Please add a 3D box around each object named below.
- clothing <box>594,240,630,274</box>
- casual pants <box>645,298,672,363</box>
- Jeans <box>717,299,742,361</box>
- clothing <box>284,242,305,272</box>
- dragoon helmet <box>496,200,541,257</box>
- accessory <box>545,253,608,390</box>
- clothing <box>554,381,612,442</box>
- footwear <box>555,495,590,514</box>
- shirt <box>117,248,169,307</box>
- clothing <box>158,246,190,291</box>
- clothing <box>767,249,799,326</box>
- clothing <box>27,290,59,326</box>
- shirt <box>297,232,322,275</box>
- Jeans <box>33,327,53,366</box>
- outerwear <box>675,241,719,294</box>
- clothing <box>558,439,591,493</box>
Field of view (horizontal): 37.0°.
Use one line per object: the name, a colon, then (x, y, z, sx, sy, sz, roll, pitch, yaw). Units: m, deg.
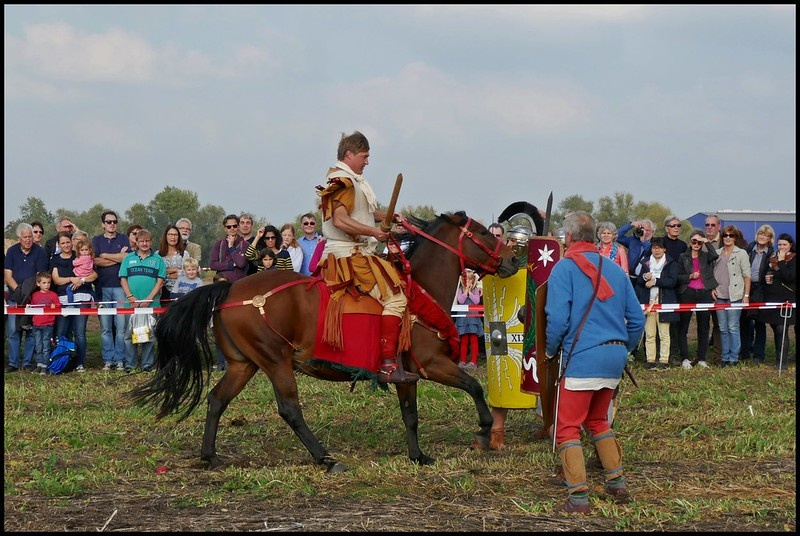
clothing: (2.972, -0.142, 16.736, 0.515, 0.499, 0.278, 0, -14, 2)
casual pants: (4.225, 1.101, 19.552, 0.404, 1.145, 0.990, 2, 11, 13)
Jeans: (5.401, 1.098, 19.681, 0.378, 0.928, 0.362, 4, 11, 22)
clothing: (-1.661, -0.162, 19.208, 0.300, 0.395, 0.150, 5, -18, -5)
dragoon helmet: (1.516, -0.444, 14.897, 0.680, 0.649, 0.295, 0, -6, 36)
accessory: (2.089, 0.525, 13.653, 0.831, 1.409, 0.453, 1, 10, 7)
clothing: (2.114, 1.661, 13.685, 0.718, 0.672, 0.244, -5, 11, -23)
footwear: (1.966, 2.676, 13.465, 0.407, 0.166, 0.147, 1, -4, 18)
shirt: (-4.122, 0.180, 19.218, 0.970, 1.211, 0.477, 0, 1, -8)
clothing: (-3.667, 0.044, 19.554, 0.557, 0.539, 0.213, 0, -1, -2)
clothing: (6.182, 0.343, 19.379, 0.476, 1.129, 0.476, 3, 11, 17)
clothing: (-5.713, 0.670, 19.145, 0.567, 0.604, 0.364, 2, -6, -20)
shirt: (-1.464, -0.250, 19.317, 0.621, 0.598, 0.184, -2, -27, 9)
Jeans: (-5.710, 1.281, 19.264, 0.290, 0.653, 0.301, -3, 11, -16)
outerwear: (4.917, 0.034, 19.738, 0.762, 0.960, 0.506, 2, -15, -2)
clothing: (1.983, 2.302, 13.602, 0.328, 0.674, 0.480, 1, 10, 8)
